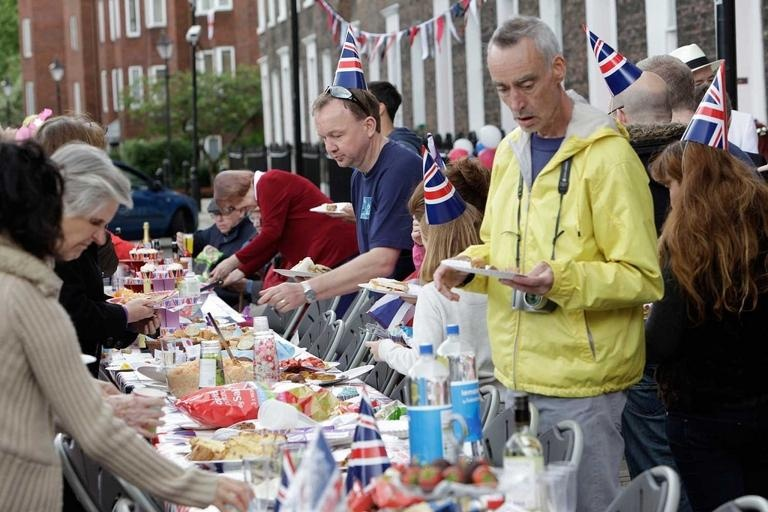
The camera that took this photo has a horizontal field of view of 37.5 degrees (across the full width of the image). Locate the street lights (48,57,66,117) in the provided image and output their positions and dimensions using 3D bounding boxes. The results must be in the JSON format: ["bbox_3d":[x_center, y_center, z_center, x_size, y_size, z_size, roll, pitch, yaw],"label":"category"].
[{"bbox_3d":[-3.049,-1.589,10.564,0.142,0.384,0.338,-4,3,-21],"label":"street lights"}]

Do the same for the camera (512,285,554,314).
[{"bbox_3d":[0.741,0.223,5.708,0.137,0.060,0.128,7,47,19],"label":"camera"}]

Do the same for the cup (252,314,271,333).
[{"bbox_3d":[-0.688,0.370,6.229,0.076,0.093,0.086,0,-4,-2],"label":"cup"}]

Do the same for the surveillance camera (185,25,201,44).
[{"bbox_3d":[-1.489,-1.709,8.860,0.093,0.054,0.157,2,51,15],"label":"surveillance camera"}]

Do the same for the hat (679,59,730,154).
[{"bbox_3d":[1.706,-0.749,5.912,0.241,0.494,0.220,11,-10,10],"label":"hat"}]

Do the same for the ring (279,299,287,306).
[{"bbox_3d":[-0.562,0.257,6.375,0.020,0.033,0.058,-2,5,34],"label":"ring"}]

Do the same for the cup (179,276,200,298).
[{"bbox_3d":[-1.327,0.212,7.752,0.113,0.248,0.117,0,-3,0],"label":"cup"}]

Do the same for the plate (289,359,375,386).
[{"bbox_3d":[-0.283,0.669,6.341,0.402,0.064,0.380,-7,4,-22],"label":"plate"}]

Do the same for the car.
[{"bbox_3d":[-2.829,-0.688,13.824,1.458,0.863,0.757,-5,7,-30],"label":"car"}]

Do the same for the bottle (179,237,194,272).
[{"bbox_3d":[-1.710,-0.016,9.876,0.082,0.351,0.091,1,-1,-25],"label":"bottle"}]

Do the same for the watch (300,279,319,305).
[{"bbox_3d":[-0.449,0.213,6.606,0.075,0.127,0.107,-17,-13,-37],"label":"watch"}]
